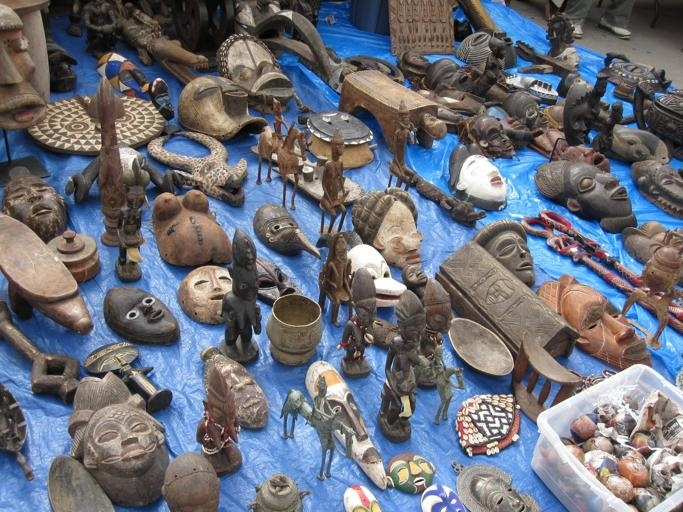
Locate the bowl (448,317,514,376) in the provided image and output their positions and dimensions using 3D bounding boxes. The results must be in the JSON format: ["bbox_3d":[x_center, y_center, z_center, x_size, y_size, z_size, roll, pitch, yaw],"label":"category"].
[{"bbox_3d":[1.767,1.154,9.389,0.949,0.207,0.586,31,50,15],"label":"bowl"}]
